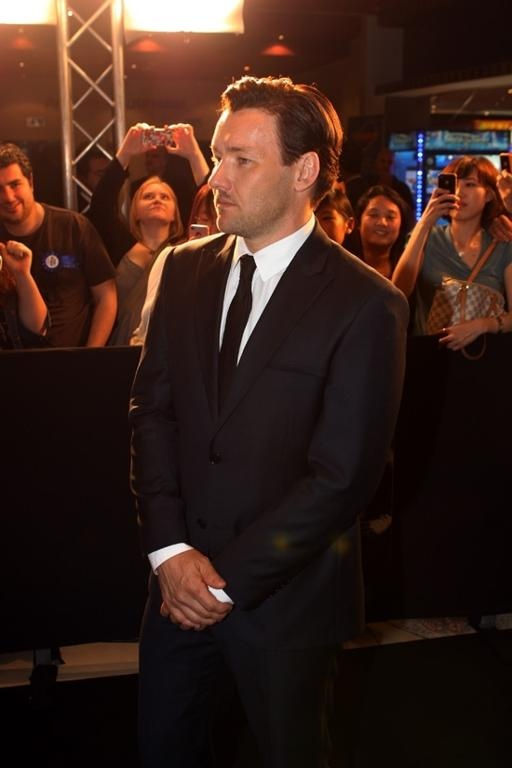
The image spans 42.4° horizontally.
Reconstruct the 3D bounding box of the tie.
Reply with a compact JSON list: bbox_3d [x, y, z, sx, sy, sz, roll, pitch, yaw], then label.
[{"bbox_3d":[-0.014,-0.117,1.261,0.047,0.330,0.034,9,-16,16],"label":"tie"}]

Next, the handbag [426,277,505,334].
[{"bbox_3d":[0.829,-0.302,2.575,0.209,0.242,0.106,21,-9,3],"label":"handbag"}]

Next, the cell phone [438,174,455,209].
[{"bbox_3d":[0.792,-0.820,2.730,0.069,0.100,0.107,1,11,15],"label":"cell phone"}]
